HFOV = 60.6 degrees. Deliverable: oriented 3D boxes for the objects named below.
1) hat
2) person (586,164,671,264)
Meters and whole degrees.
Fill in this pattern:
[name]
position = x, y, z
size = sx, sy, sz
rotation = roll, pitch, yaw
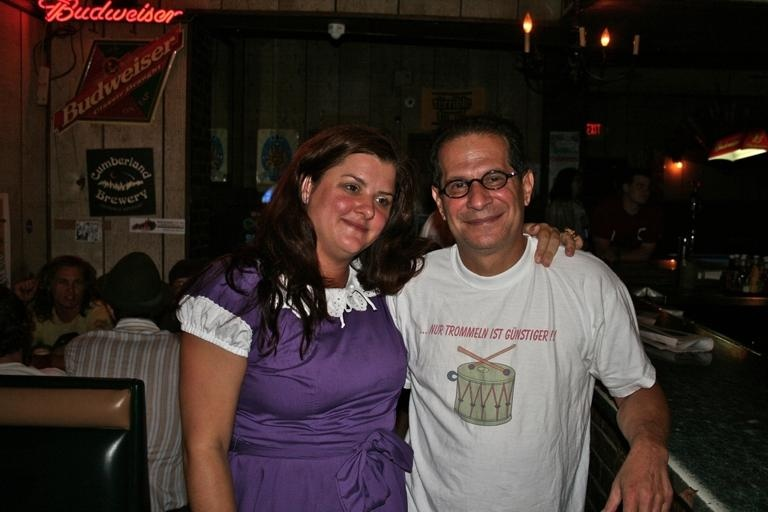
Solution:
[hat]
position = -1.591, 0.199, 4.155
size = 0.362, 0.169, 0.437
rotation = 4, 39, -35
[person]
position = 2.392, -0.407, 6.564
size = 0.870, 1.193, 0.775
rotation = -1, 20, 3
